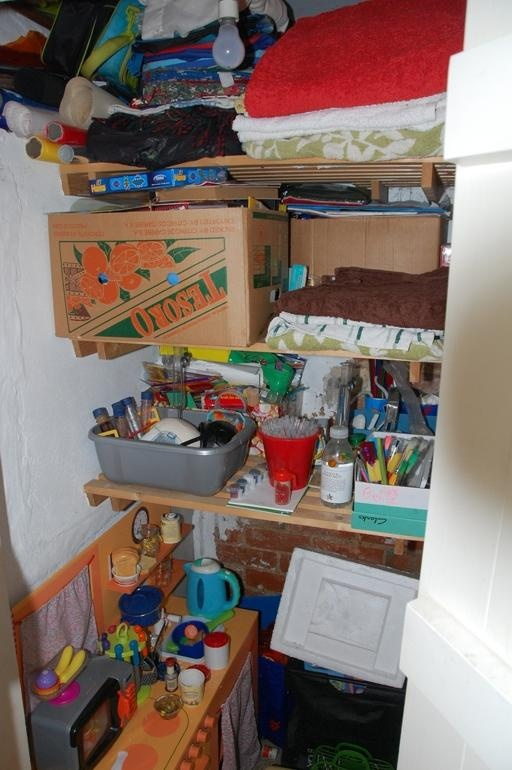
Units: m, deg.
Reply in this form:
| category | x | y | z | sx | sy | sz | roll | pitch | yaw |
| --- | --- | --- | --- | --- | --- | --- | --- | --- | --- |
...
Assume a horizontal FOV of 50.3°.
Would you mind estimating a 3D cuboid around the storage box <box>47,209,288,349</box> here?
| category | x | y | z | sx | sy | sz | roll | pitch | yaw |
| --- | --- | --- | --- | --- | --- | --- | --- | --- | --- |
| storage box | -0.222 | -0.182 | 1.264 | 0.398 | 0.233 | 0.385 | 1 | 8 | 11 |

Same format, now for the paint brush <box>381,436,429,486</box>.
| category | x | y | z | sx | sy | sz | roll | pitch | yaw |
| --- | --- | --- | --- | --- | --- | --- | --- | --- | --- |
| paint brush | 0.351 | 0.176 | 1.272 | 0.090 | 0.123 | 0.040 | 2 | 1 | 2 |

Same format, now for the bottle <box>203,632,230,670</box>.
| category | x | y | z | sx | sy | sz | roll | pitch | yaw |
| --- | --- | --- | --- | --- | --- | --- | --- | --- | --- |
| bottle | -0.104 | 0.760 | 1.592 | 0.086 | 0.097 | 0.089 | 1 | 6 | 4 |

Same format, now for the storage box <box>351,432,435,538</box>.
| category | x | y | z | sx | sy | sz | roll | pitch | yaw |
| --- | --- | --- | --- | --- | --- | --- | --- | --- | --- |
| storage box | 0.327 | 0.231 | 1.323 | 0.178 | 0.211 | 0.204 | 3 | 13 | 17 |

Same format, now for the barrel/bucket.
| category | x | y | z | sx | sy | sz | roll | pitch | yaw |
| --- | --- | --- | --- | --- | --- | --- | --- | --- | --- |
| barrel/bucket | 0.089 | 0.159 | 1.382 | 0.154 | 0.147 | 0.164 | 1 | 6 | 0 |

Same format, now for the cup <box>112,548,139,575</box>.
| category | x | y | z | sx | sy | sz | roll | pitch | yaw |
| --- | --- | --- | --- | --- | --- | --- | --- | --- | --- |
| cup | -0.376 | 0.510 | 1.585 | 0.064 | 0.073 | 0.068 | -1 | -3 | 0 |

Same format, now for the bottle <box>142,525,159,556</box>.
| category | x | y | z | sx | sy | sz | roll | pitch | yaw |
| --- | --- | --- | --- | --- | --- | --- | --- | --- | --- |
| bottle | -0.326 | 0.492 | 1.707 | 0.064 | 0.102 | 0.063 | 1 | 0 | 0 |

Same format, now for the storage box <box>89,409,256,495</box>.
| category | x | y | z | sx | sy | sz | roll | pitch | yaw |
| --- | --- | --- | --- | --- | --- | --- | --- | --- | --- |
| storage box | -0.214 | 0.186 | 1.419 | 0.306 | 0.111 | 0.227 | 2 | 8 | 12 |

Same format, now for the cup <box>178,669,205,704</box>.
| category | x | y | z | sx | sy | sz | roll | pitch | yaw |
| --- | --- | --- | --- | --- | --- | --- | --- | --- | --- |
| cup | -0.177 | 0.815 | 1.481 | 0.061 | 0.053 | 0.068 | 1 | 3 | 6 |

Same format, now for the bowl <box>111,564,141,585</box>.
| category | x | y | z | sx | sy | sz | roll | pitch | yaw |
| --- | --- | --- | --- | --- | --- | --- | --- | --- | --- |
| bowl | -0.374 | 0.552 | 1.583 | 0.075 | 0.058 | 0.050 | -4 | 13 | -14 |

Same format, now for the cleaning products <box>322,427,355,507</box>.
| category | x | y | z | sx | sy | sz | roll | pitch | yaw |
| --- | --- | --- | --- | --- | --- | --- | --- | --- | --- |
| cleaning products | 0.198 | 0.211 | 1.319 | 0.079 | 0.178 | 0.062 | 1 | 12 | 7 |
